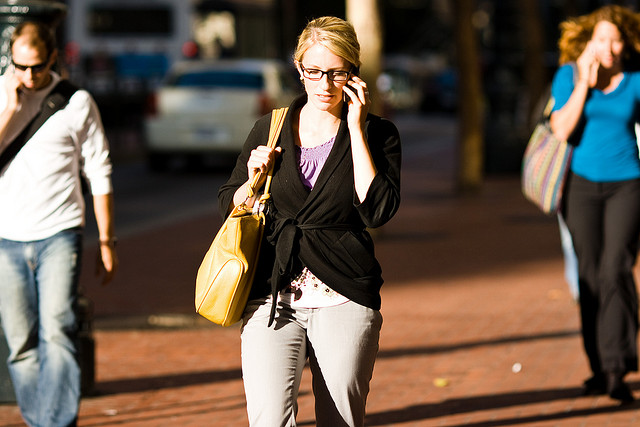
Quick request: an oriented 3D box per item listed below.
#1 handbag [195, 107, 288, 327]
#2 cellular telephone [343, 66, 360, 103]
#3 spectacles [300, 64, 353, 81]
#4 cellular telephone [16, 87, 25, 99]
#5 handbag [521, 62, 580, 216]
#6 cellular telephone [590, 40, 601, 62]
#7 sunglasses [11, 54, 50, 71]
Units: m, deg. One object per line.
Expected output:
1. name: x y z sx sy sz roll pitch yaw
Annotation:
1. handbag: -0.444 0.126 5.065 0.248 0.894 0.435 8 12 41
2. cellular telephone: 0.173 -0.712 5.109 0.044 0.163 0.124 27 21 18
3. spectacles: 0.028 -0.758 5.029 0.253 0.074 0.075 0 9 -3
4. cellular telephone: -1.881 -0.767 5.945 0.015 0.042 0.056 -28 -24 -4
5. handbag: 1.699 -0.439 7.104 0.254 0.886 0.337 -8 12 -43
6. cellular telephone: 2.025 -1.202 6.932 0.034 0.113 0.081 -17 14 -3
7. sunglasses: -1.800 -0.951 5.870 0.219 0.097 0.067 0 9 -3
